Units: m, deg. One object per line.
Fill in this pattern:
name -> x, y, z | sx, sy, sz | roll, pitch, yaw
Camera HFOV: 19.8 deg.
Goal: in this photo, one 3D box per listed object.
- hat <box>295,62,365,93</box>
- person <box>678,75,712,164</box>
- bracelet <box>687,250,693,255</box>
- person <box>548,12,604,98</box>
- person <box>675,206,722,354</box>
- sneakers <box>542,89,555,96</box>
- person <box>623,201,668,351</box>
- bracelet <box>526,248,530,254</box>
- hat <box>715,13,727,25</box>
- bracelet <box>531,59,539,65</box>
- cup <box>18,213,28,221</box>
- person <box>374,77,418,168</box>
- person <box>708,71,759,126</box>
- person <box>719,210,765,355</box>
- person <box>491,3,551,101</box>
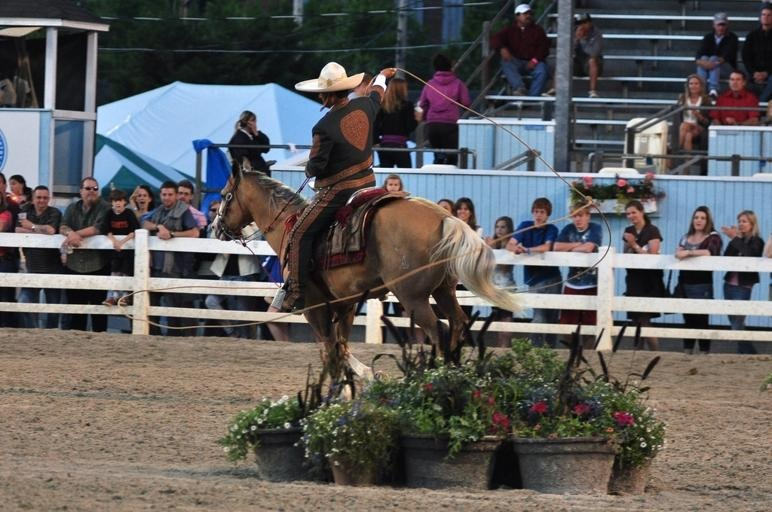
hat -> -1.062, -3.346, 41.895 | 0.898, 0.293, 0.738 | 1, 10, 17
person -> 6.892, -3.171, 49.028 | 0.695, 1.724, 1.056 | 1, 2, 8
bracelet -> 6.331, -0.059, 45.668 | 0.095, 0.107, 0.174 | 1, 2, 8
person -> 4.824, -4.791, 52.574 | 0.672, 1.996, 1.135 | 1, 2, 5
person -> 6.567, 0.509, 46.199 | 0.971, 3.092, 1.279 | 1, 2, 7
sneakers -> 3.797, -3.810, 51.161 | 0.126, 0.141, 0.350 | 1, 4, -38
person -> 5.461, 0.398, 46.439 | 0.916, 3.125, 1.379 | 1, 2, 0
bracelet -> 2.961, -0.098, 45.754 | 0.028, 0.081, 0.089 | 12, 34, 10
hat -> 7.856, -5.593, 51.609 | 0.265, 0.283, 0.735 | 1, 2, 8
bracelet -> 3.454, -4.546, 51.293 | 0.162, 0.139, 0.036 | 3, 4, -3
cup -> -7.899, -0.854, 47.657 | 0.156, 0.136, 0.194 | 2, -3, -7
person -> 0.254, -2.546, 49.076 | 1.125, 2.867, 0.971 | 3, 15, 6
person -> 7.830, -3.528, 49.162 | 1.096, 1.179, 1.989 | 1, 2, 9
person -> 7.500, 0.564, 46.263 | 0.865, 3.016, 1.231 | 1, 2, 9
person -> 3.178, -4.814, 51.405 | 1.251, 2.156, 0.983 | 1, 2, 3
